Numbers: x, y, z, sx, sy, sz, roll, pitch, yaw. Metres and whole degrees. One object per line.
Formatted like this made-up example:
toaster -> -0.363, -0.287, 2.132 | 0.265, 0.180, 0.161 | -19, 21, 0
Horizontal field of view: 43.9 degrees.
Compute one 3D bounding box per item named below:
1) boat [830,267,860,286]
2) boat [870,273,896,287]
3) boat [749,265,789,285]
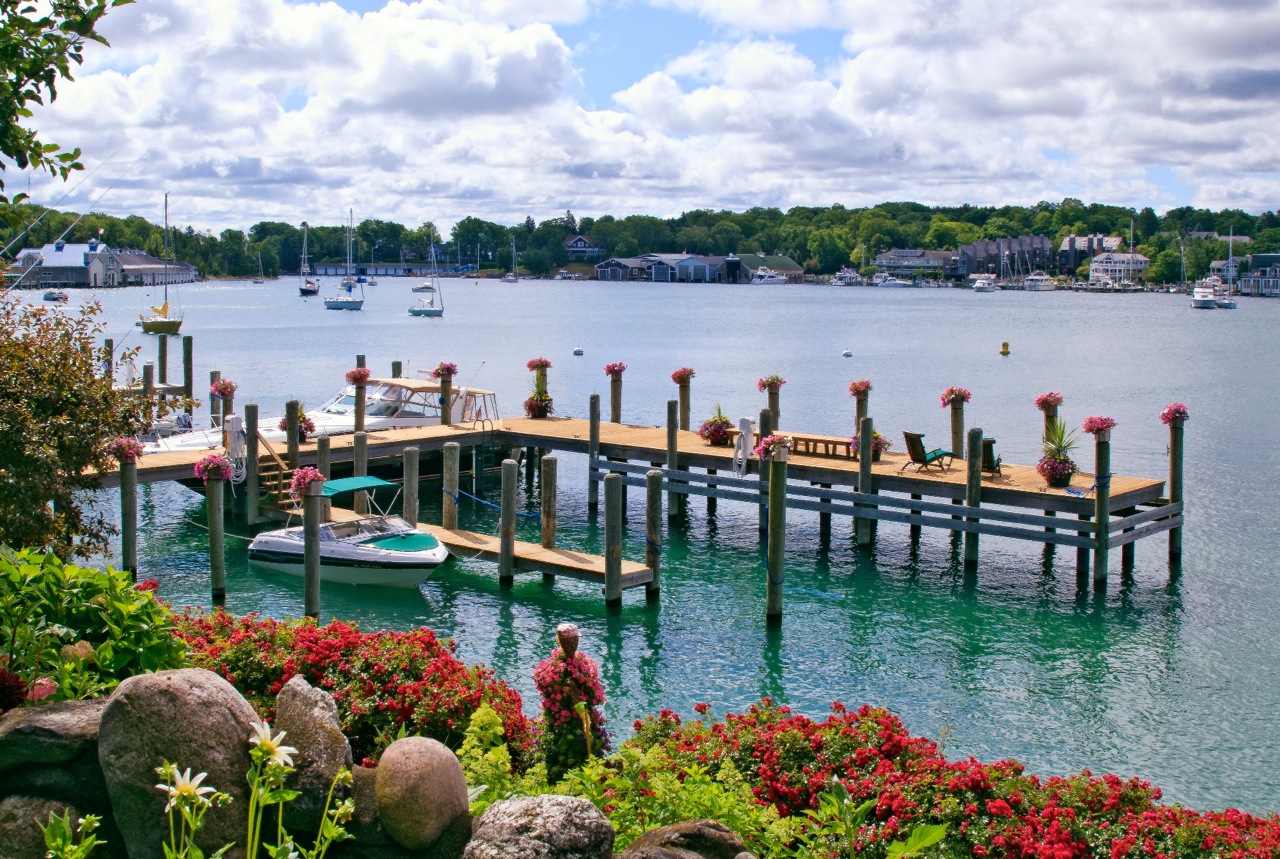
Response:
boat -> 39.856, -29.358, 306.262 | 4.169, 3.654, 7.625 | -1, 13, -6
boat -> 46.051, -28.555, 301.733 | 3.548, 2.761, 3.922 | -7, 15, -29
boat -> 24.709, -29.984, 308.824 | 3.159, 2.411, 6.261 | 0, 2, 34
